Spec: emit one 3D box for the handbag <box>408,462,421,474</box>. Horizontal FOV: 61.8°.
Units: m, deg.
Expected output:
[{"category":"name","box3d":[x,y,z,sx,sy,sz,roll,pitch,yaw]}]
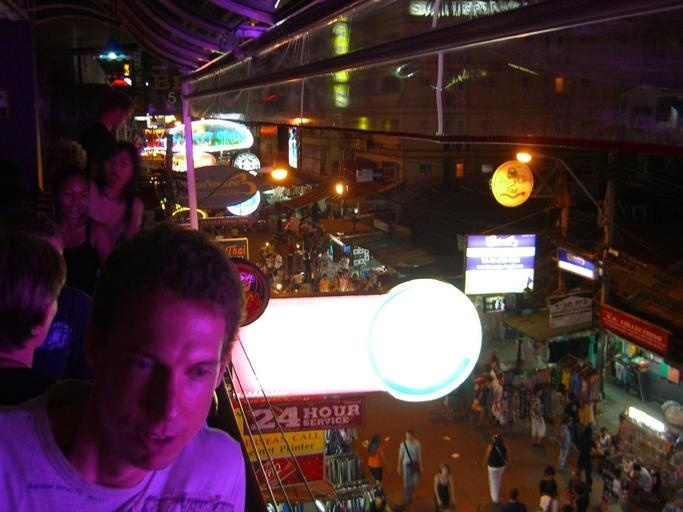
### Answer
[{"category":"handbag","box3d":[1.613,4.653,12.639,0.215,0.271,0.236,-10,7,-12]}]
